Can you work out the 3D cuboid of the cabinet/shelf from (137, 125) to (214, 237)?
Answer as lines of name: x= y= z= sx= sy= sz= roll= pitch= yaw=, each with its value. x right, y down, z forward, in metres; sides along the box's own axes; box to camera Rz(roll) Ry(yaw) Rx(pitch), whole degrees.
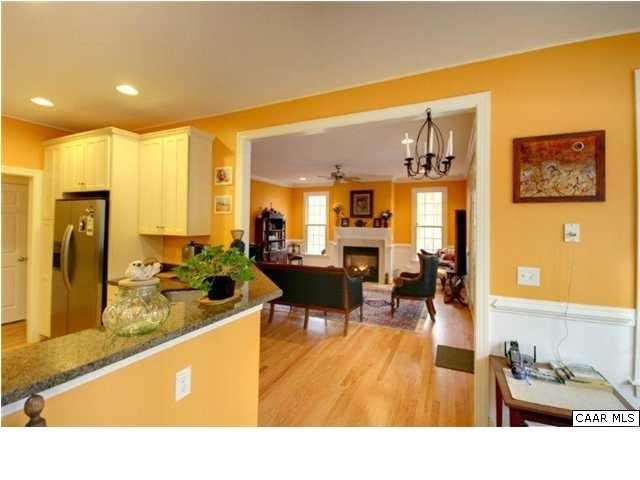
cabinet/shelf: x=-1.493 y=-0.587 z=4.365 sx=0.739 sy=1.049 sz=0.396 roll=2 pitch=10 yaw=12

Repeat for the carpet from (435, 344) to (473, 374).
carpet: x=1.346 y=1.202 z=4.367 sx=0.370 sy=0.023 sz=0.572 roll=3 pitch=10 yaw=19

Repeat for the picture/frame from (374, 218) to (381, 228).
picture/frame: x=1.099 y=-0.336 z=8.261 sx=0.170 sy=0.209 sz=0.021 roll=4 pitch=9 yaw=25

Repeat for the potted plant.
potted plant: x=-0.689 y=0.151 z=2.743 sx=0.388 sy=0.250 sz=0.379 roll=-4 pitch=9 yaw=-40

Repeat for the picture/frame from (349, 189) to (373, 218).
picture/frame: x=0.826 y=-0.733 z=8.501 sx=0.603 sy=0.665 sz=0.049 roll=2 pitch=2 yaw=26

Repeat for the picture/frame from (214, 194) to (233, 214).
picture/frame: x=-0.972 y=-0.370 z=4.373 sx=0.217 sy=0.203 sz=0.015 roll=2 pitch=4 yaw=25

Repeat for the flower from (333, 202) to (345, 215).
flower: x=0.371 y=-0.650 z=8.767 sx=0.211 sy=0.218 sz=0.224 roll=0 pitch=0 yaw=-10

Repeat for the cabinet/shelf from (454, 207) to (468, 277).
cabinet/shelf: x=2.138 y=0.045 z=6.526 sx=0.190 sy=0.990 sz=0.370 roll=3 pitch=10 yaw=18

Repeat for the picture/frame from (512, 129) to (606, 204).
picture/frame: x=1.747 y=-0.536 z=3.109 sx=0.601 sy=0.523 sz=0.049 roll=1 pitch=3 yaw=26

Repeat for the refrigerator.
refrigerator: x=-2.400 y=0.296 z=4.329 sx=0.680 sy=1.435 sz=0.289 roll=3 pitch=10 yaw=18

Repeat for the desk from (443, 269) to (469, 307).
desk: x=2.076 y=0.704 z=6.735 sx=0.365 sy=0.496 sz=1.070 roll=2 pitch=10 yaw=14

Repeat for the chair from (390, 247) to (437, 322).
chair: x=1.371 y=0.582 z=6.032 sx=0.845 sy=1.082 sz=0.862 roll=2 pitch=-2 yaw=16

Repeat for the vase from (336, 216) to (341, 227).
vase: x=0.375 y=-0.391 z=8.800 sx=0.089 sy=0.198 sz=0.098 roll=0 pitch=10 yaw=2

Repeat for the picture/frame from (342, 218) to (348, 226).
picture/frame: x=0.508 y=-0.369 z=8.700 sx=0.169 sy=0.182 sz=0.021 roll=3 pitch=5 yaw=33

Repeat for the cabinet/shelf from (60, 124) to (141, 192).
cabinet/shelf: x=-2.205 y=-0.798 z=4.348 sx=0.787 sy=0.610 sz=0.305 roll=0 pitch=-2 yaw=26
